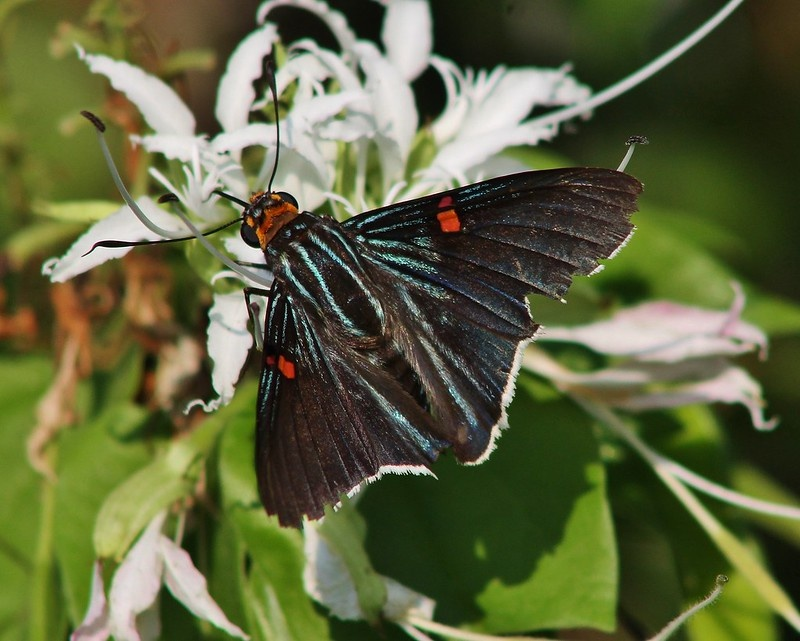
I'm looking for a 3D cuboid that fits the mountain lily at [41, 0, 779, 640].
[{"bbox_3d":[-0.074,0.086,1.619,0.889,0.466,0.862,-36,78,-17],"label":"mountain lily"}]
